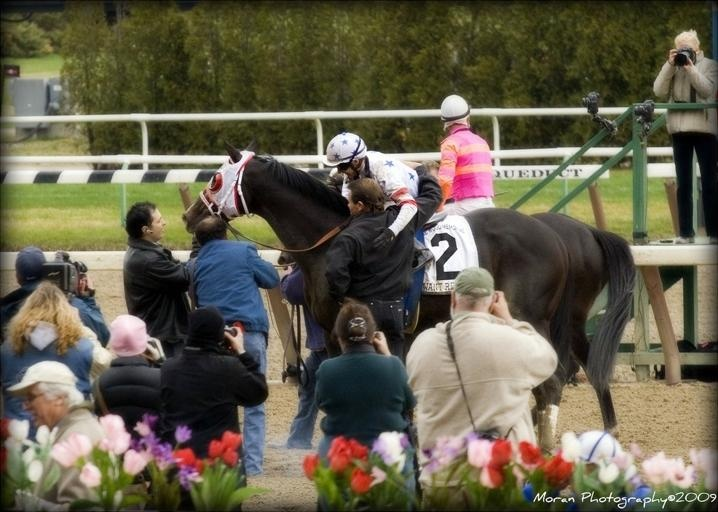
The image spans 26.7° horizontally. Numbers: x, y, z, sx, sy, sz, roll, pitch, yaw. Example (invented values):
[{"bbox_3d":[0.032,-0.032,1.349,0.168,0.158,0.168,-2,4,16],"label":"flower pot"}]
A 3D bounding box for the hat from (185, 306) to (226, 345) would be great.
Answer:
[{"bbox_3d":[-1.327,0.609,13.147,0.325,0.326,0.280,0,11,-12],"label":"hat"}]

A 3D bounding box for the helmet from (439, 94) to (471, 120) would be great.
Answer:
[{"bbox_3d":[0.955,-1.458,14.995,0.218,0.224,0.277,-13,9,7],"label":"helmet"}]

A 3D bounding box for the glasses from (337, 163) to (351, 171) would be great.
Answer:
[{"bbox_3d":[-0.135,-0.817,13.927,0.069,0.037,0.088,-6,-6,-31],"label":"glasses"}]

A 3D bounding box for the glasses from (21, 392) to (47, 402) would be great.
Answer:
[{"bbox_3d":[-2.783,1.193,13.026,0.160,0.091,0.119,4,-2,-10],"label":"glasses"}]

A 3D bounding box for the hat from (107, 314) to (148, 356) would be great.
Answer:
[{"bbox_3d":[-2.052,0.706,13.298,0.280,0.296,0.352,-3,-6,-26],"label":"hat"}]

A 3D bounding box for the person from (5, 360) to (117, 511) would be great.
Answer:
[{"bbox_3d":[-2.660,1.694,13.896,1.061,2.044,1.252,3,-10,-11],"label":"person"}]

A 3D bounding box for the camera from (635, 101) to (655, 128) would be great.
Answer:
[{"bbox_3d":[2.867,-1.423,15.273,0.192,0.320,0.265,2,6,39],"label":"camera"}]

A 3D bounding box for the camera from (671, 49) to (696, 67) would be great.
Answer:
[{"bbox_3d":[3.284,-2.012,15.304,0.163,0.105,0.180,1,21,16],"label":"camera"}]

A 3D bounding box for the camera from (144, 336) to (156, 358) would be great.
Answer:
[{"bbox_3d":[-1.889,0.831,13.753,0.070,0.179,0.105,-21,-3,32],"label":"camera"}]

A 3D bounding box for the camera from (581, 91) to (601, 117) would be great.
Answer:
[{"bbox_3d":[2.392,-1.547,15.577,0.138,0.248,0.304,0,1,5],"label":"camera"}]

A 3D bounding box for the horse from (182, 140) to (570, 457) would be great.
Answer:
[{"bbox_3d":[0.312,0.427,14.653,4.144,2.856,1.130,2,8,-8],"label":"horse"}]

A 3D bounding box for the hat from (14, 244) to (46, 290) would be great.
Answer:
[{"bbox_3d":[-3.047,0.087,14.079,0.247,0.372,0.217,-2,-37,-9],"label":"hat"}]

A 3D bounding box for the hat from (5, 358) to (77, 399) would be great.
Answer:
[{"bbox_3d":[-2.697,1.053,13.000,0.430,0.213,0.302,2,-14,-4],"label":"hat"}]

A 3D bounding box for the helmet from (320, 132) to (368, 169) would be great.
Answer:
[{"bbox_3d":[-0.125,-0.973,13.918,0.339,0.204,0.258,-16,36,-17],"label":"helmet"}]

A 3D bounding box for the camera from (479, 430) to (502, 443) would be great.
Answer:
[{"bbox_3d":[1.111,1.511,12.732,0.144,0.054,0.092,-5,-5,26],"label":"camera"}]
